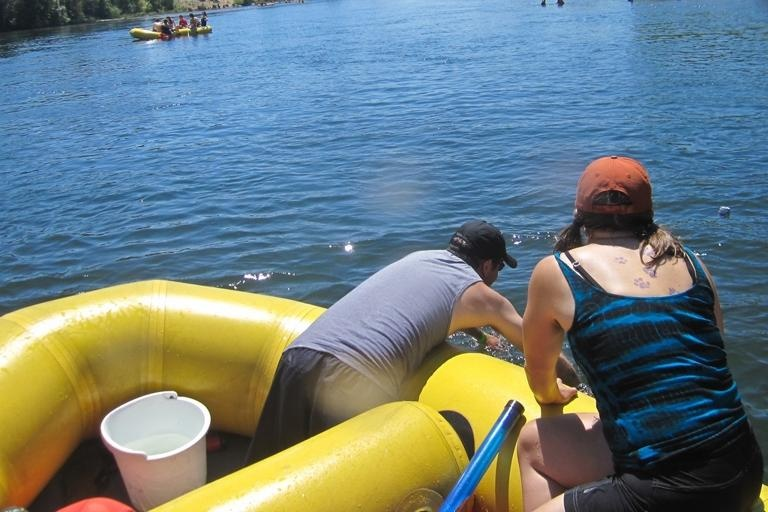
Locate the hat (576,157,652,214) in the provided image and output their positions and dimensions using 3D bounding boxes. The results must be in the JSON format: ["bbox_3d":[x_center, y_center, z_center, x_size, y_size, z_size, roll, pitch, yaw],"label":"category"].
[{"bbox_3d":[1.326,-0.480,4.094,0.430,0.297,0.629,0,21,13],"label":"hat"}]

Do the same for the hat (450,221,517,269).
[{"bbox_3d":[0.693,-0.087,4.865,0.419,0.214,0.274,4,17,-21],"label":"hat"}]

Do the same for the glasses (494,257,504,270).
[{"bbox_3d":[0.784,0.047,4.829,0.028,0.077,0.080,9,-13,-36],"label":"glasses"}]

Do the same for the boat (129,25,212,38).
[{"bbox_3d":[-10.764,-11.358,35.872,3.905,0.579,1.850,-20,25,-36],"label":"boat"}]

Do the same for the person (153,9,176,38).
[{"bbox_3d":[-11.250,-11.678,36.191,1.042,1.024,2.976,-8,21,-14],"label":"person"}]
